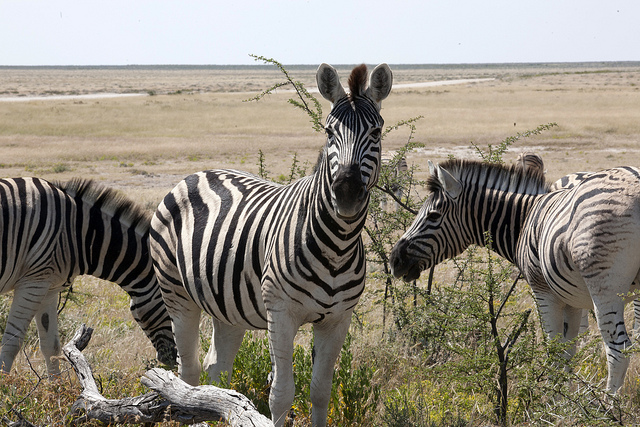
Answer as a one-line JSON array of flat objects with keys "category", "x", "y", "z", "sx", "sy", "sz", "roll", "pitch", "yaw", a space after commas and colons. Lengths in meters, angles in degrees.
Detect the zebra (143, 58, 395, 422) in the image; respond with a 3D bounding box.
[{"category": "zebra", "x": -0.651, "y": 0.309, "z": 10.573, "sx": 2.770, "sy": 4.471, "sz": 1.237, "roll": 8, "pitch": 12, "yaw": 31}]
